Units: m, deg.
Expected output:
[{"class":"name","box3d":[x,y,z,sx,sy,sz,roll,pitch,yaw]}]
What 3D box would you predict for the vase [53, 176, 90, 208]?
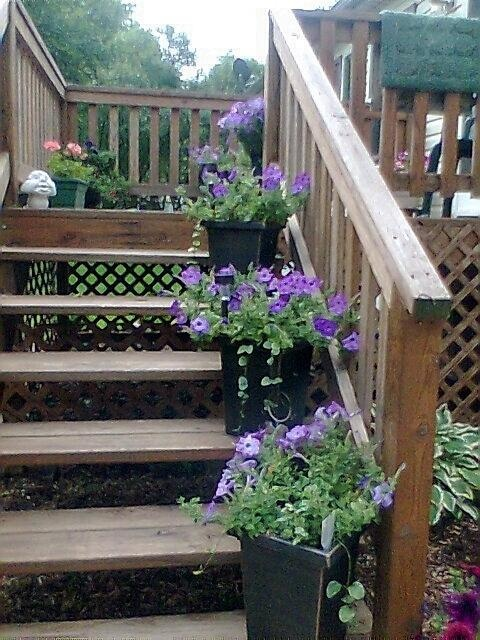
[{"class":"vase","box3d":[-1.005,-0.760,3.709,0.158,0.171,0.270,5,9,37]}]
